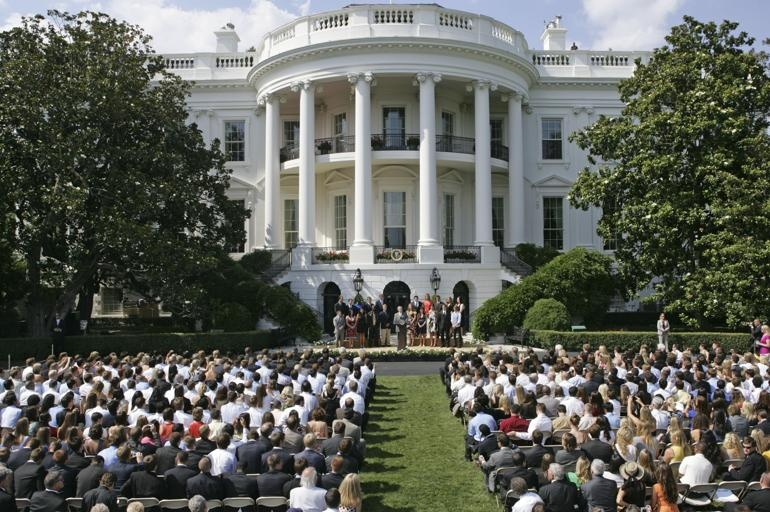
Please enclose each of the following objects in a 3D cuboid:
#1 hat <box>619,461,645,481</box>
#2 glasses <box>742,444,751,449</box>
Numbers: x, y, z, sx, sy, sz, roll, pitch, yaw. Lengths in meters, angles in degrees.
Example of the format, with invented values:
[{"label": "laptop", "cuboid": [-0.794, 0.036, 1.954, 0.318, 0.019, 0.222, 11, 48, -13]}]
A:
[{"label": "hat", "cuboid": [8.922, 7.716, 53.481, 0.860, 0.623, 0.335, -2, -5, 6]}, {"label": "glasses", "cuboid": [13.282, 6.984, 54.462, 0.221, 0.089, 0.169, 16, -16, -24]}]
